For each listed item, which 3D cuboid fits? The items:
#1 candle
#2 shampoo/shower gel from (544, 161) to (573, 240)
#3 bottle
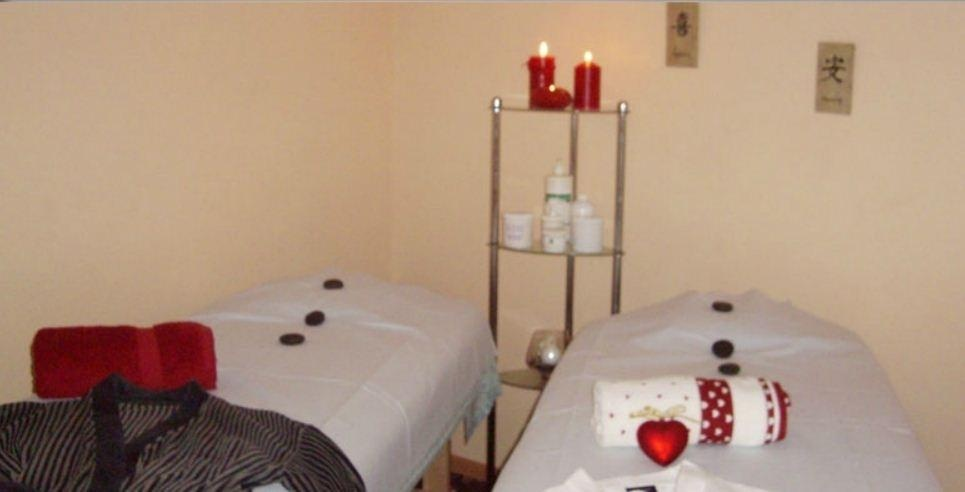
[{"bbox_3d":[0.263,-0.611,2.987,0.235,0.235,0.291,1,4,-21],"label":"candle"},{"bbox_3d":[0.283,-0.187,3.023,0.122,0.256,0.113,2,9,13],"label":"shampoo/shower gel"},{"bbox_3d":[0.264,-0.140,3.029,0.369,0.291,0.378,0,2,0],"label":"bottle"}]
